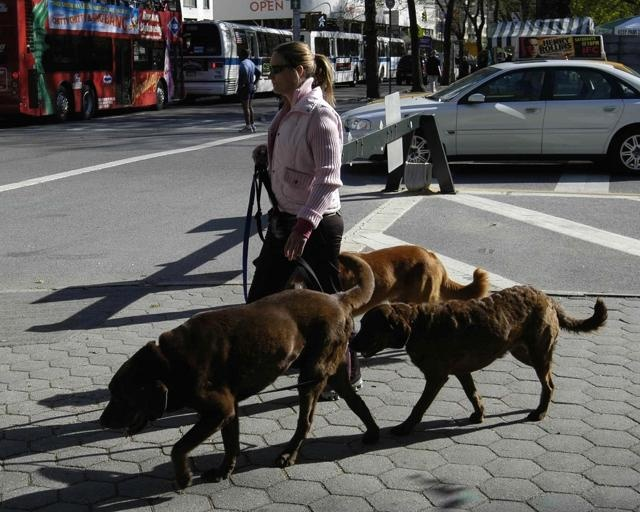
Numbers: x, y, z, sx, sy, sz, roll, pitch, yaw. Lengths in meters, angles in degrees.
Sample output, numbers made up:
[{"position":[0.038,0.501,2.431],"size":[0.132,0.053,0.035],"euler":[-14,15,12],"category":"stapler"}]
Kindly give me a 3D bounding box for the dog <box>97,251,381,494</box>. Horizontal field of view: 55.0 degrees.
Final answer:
[{"position":[-0.300,0.557,3.010],"size":[1.518,0.831,0.581],"euler":[-11,9,-30],"category":"dog"}]

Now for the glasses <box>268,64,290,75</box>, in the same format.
[{"position":[-0.225,-1.069,3.461],"size":[0.088,0.028,0.064],"euler":[-8,7,-21],"category":"glasses"}]

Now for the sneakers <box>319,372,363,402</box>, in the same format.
[{"position":[0.137,0.854,3.921],"size":[0.254,0.120,0.152],"euler":[-29,25,2],"category":"sneakers"}]

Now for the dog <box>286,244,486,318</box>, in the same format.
[{"position":[0.537,0.274,4.344],"size":[0.319,0.684,1.354],"euler":[13,-5,-43],"category":"dog"}]

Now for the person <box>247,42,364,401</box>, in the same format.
[{"position":[-0.195,-0.241,3.785],"size":[0.971,1.998,0.779],"euler":[4,16,15],"category":"person"}]

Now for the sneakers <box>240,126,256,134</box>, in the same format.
[{"position":[-2.377,-4.205,20.183],"size":[0.665,0.278,0.243],"euler":[3,19,13],"category":"sneakers"}]

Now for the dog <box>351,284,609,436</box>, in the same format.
[{"position":[0.898,0.563,3.398],"size":[1.393,0.746,0.337],"euler":[-3,4,-2],"category":"dog"}]
